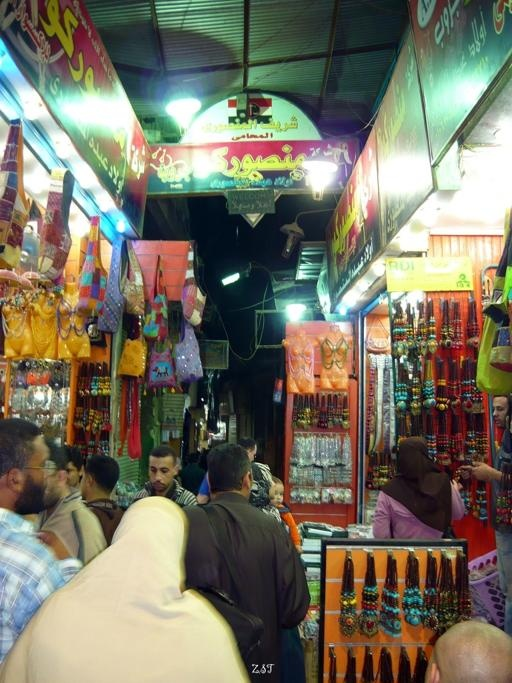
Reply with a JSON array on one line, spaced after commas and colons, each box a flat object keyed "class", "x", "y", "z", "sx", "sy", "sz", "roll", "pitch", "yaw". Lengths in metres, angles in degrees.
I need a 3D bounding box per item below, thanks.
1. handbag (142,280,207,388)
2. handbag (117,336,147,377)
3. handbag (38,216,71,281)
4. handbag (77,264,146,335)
[{"class": "handbag", "x": -0.759, "y": -0.055, "z": 4.767, "sx": 0.526, "sy": 0.958, "sz": 0.917, "roll": 3, "pitch": -11, "yaw": -8}, {"class": "handbag", "x": -1.101, "y": 0.142, "z": 4.600, "sx": 0.317, "sy": 0.360, "sz": 0.242, "roll": 9, "pitch": -13, "yaw": -37}, {"class": "handbag", "x": -1.065, "y": -0.482, "z": 2.666, "sx": 0.088, "sy": 0.393, "sz": 0.133, "roll": 4, "pitch": 11, "yaw": -8}, {"class": "handbag", "x": -1.037, "y": -0.349, "z": 3.870, "sx": 0.123, "sy": 0.603, "sz": 0.341, "roll": -10, "pitch": -10, "yaw": 36}]
